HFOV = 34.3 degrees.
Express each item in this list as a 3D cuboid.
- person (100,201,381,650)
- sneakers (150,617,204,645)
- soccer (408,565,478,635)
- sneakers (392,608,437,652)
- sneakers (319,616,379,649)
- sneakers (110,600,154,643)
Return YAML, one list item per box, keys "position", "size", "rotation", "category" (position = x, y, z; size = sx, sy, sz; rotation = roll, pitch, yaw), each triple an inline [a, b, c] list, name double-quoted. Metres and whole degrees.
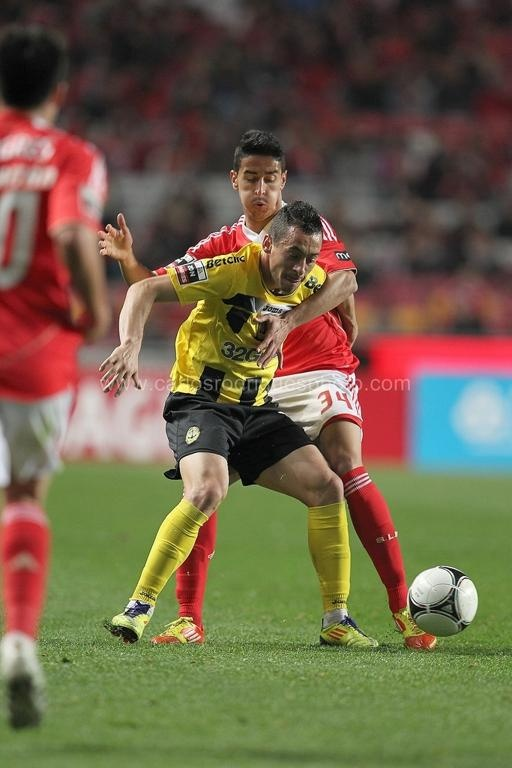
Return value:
- position: [-0.041, 0.100, 2.924]
  size: [0.997, 1.581, 0.768]
  rotation: [4, -9, -9]
  category: "person"
- position: [-0.256, 0.834, 2.791]
  size: [0.156, 0.067, 0.209]
  rotation: [1, -8, 5]
  category: "sneakers"
- position: [0.643, 0.751, 2.843]
  size: [0.236, 0.233, 0.119]
  rotation: [2, -9, 1]
  category: "soccer"
- position: [0.545, 0.859, 2.905]
  size: [0.069, 0.077, 0.189]
  rotation: [-30, 13, -13]
  category: "sneakers"
- position: [0.310, 0.852, 2.835]
  size: [0.220, 0.093, 0.145]
  rotation: [-2, -10, 29]
  category: "sneakers"
- position: [-0.405, 0.765, 2.668]
  size: [0.106, 0.131, 0.162]
  rotation: [0, -9, 18]
  category: "sneakers"
